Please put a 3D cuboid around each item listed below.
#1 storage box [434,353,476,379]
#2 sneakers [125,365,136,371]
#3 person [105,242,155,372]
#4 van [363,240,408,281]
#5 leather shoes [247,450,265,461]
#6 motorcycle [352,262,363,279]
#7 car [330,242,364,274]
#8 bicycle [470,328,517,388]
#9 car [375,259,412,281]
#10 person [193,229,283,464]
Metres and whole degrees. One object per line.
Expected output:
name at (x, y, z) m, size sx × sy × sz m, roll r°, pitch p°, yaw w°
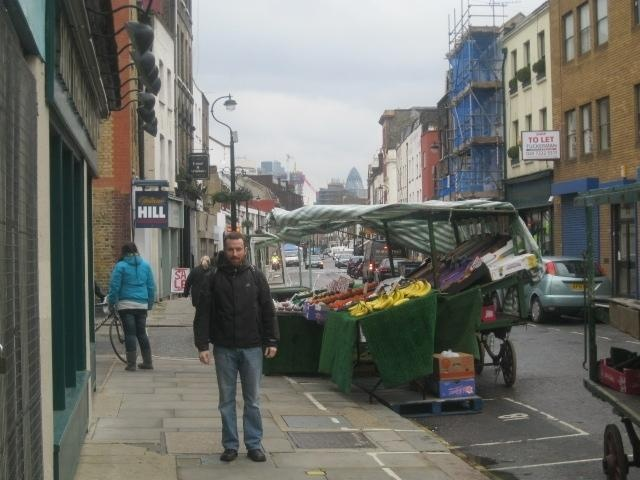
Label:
storage box at (1.833, 1.706, 11.637) m, size 0.519 × 0.347 × 0.243 m, roll -1°, pitch 0°, yaw -10°
sneakers at (-3.100, 2.072, 13.923) m, size 0.192 × 0.096 × 0.291 m, roll -1°, pitch -1°, yaw -12°
person at (-3.129, 1.082, 14.111) m, size 0.697 × 1.858 × 0.638 m, roll -1°, pitch 0°, yaw -2°
van at (2.656, 0.829, 36.653) m, size 1.332 × 1.383 × 2.488 m, roll -1°, pitch 3°, yaw -3°
leather shoes at (-0.661, 2.214, 8.829) m, size 0.195 × 0.125 × 0.158 m, roll -1°, pitch 0°, yaw -1°
motorcycle at (2.180, 1.724, 49.652) m, size 0.885 × 0.759 × 2.104 m, roll 1°, pitch 3°, yaw 0°
car at (2.452, 1.433, 76.144) m, size 1.976 × 1.634 × 3.192 m, roll -1°, pitch -6°, yaw -6°
bicycle at (2.918, 1.778, 13.587) m, size 0.620 × 0.920 × 1.488 m, roll 0°, pitch -2°, yaw -2°
car at (2.549, 1.027, 32.188) m, size 0.770 × 0.675 × 1.832 m, roll -2°, pitch 0°, yaw 4°
person at (-0.882, 1.094, 8.957) m, size 0.875 × 2.207 × 0.525 m, roll -1°, pitch 0°, yaw -4°
